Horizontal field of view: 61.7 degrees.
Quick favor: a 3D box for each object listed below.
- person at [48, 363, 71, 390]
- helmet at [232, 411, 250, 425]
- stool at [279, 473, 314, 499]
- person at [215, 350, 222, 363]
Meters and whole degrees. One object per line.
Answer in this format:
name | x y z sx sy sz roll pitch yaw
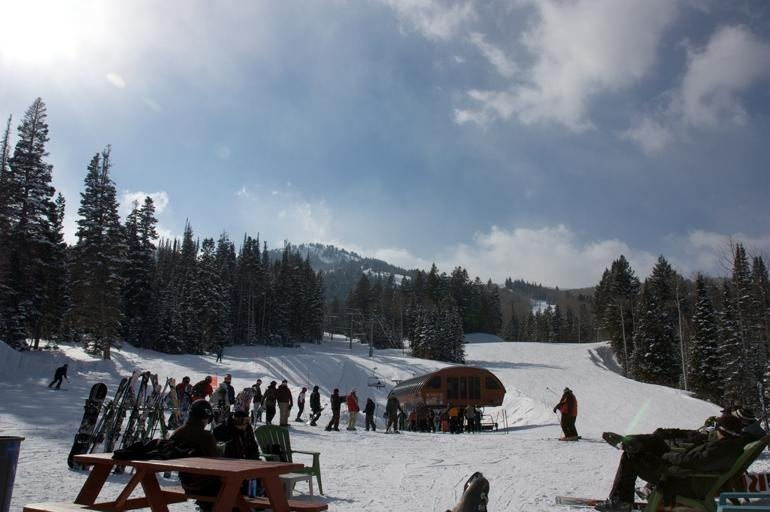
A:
person | -20.603 7.609 40.723 0.760 1.472 3.142 7 -15 -22
helmet | -5.055 5.678 22.671 0.440 0.309 0.512 3 -13 24
stool | -3.369 8.700 24.201 1.149 0.927 1.169 -3 -2 38
person | -16.270 9.835 63.582 0.390 1.441 2.267 4 -14 -11
